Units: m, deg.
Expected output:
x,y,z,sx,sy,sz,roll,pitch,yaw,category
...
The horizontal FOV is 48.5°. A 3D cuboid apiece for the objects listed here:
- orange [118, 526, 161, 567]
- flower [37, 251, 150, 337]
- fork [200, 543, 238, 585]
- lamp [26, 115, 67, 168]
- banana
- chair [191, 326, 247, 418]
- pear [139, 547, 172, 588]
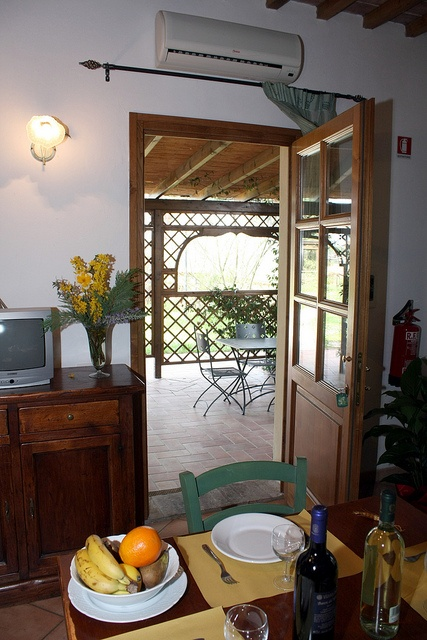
x,y,z,sx,sy,sz,roll,pitch,yaw,category
-0.114,0.351,0.729,0.062,0.072,0.056,1,-29,7,orange
-0.500,-0.113,2.102,0.416,0.278,0.496,5,-7,-25,flower
0.015,0.439,0.862,0.020,0.015,0.125,0,4,-17,fork
-0.694,-0.745,1.992,0.168,0.187,0.139,-3,5,-20,lamp
-0.174,0.378,0.751,0.109,0.035,0.052,14,-12,44,banana
-0.019,0.436,5.116,0.681,1.322,0.643,-3,4,-9,chair
-0.097,0.400,0.766,0.028,0.056,0.023,37,-44,-28,pear
